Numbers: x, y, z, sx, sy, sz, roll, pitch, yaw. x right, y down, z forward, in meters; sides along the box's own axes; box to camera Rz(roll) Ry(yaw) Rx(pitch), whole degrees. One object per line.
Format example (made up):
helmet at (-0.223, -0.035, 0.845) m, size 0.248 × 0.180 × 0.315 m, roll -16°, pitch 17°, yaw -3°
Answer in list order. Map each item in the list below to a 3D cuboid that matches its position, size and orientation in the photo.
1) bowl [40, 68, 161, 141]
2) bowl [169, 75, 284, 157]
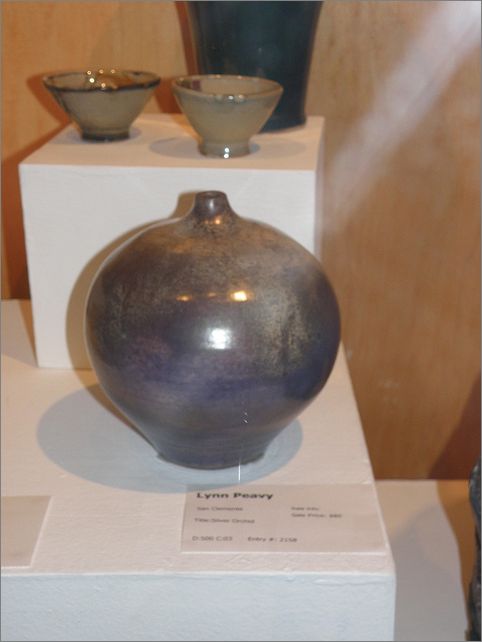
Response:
bowl at (-0.189, -0.279, 0.897) m, size 0.147 × 0.067 × 0.129 m, roll 0°, pitch 18°, yaw -1°
bowl at (-0.018, -0.268, 0.845) m, size 0.147 × 0.104 × 0.133 m, roll 12°, pitch 39°, yaw 20°
